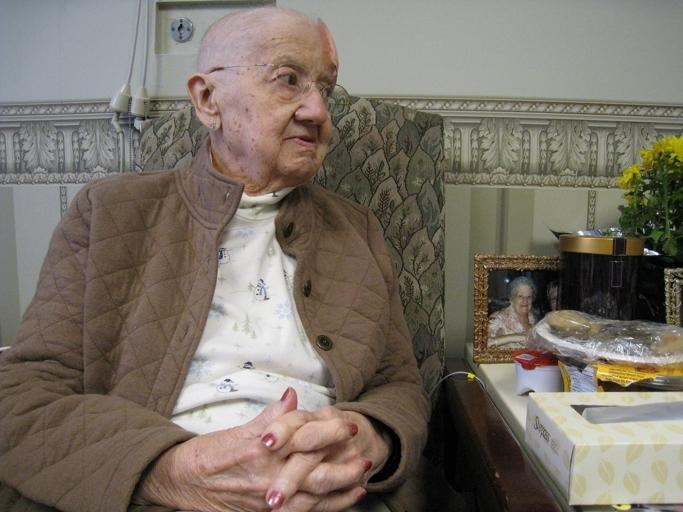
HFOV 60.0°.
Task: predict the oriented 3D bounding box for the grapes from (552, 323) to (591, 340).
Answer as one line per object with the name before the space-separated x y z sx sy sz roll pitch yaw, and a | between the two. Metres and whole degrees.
grapes | 0.582 0.192 1.496 0.054 0.015 0.039 -7 22 30

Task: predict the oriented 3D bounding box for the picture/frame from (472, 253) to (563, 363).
picture/frame | 0.528 0.160 1.765 0.284 0.343 0.024 1 -3 5
